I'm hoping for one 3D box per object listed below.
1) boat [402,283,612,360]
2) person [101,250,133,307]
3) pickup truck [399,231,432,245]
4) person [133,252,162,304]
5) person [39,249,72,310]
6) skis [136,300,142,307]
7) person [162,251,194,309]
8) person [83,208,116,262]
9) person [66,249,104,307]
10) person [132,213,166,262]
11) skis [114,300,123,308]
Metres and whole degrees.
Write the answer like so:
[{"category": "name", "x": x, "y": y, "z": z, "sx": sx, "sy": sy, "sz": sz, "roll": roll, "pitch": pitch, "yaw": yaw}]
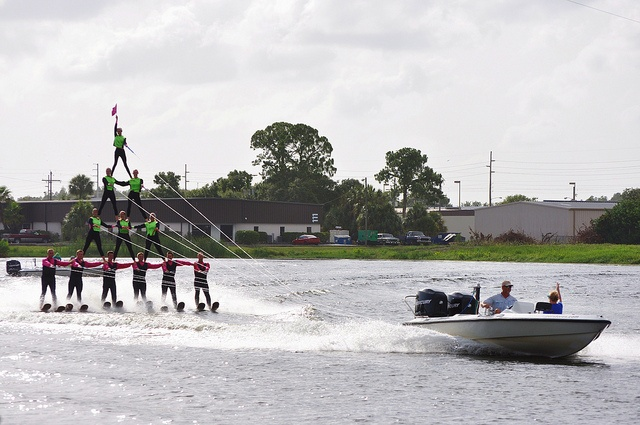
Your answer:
[{"category": "boat", "x": 7.280, "y": 4.162, "z": 40.791, "sx": 7.050, "sy": 2.816, "sz": 1.362, "roll": 3, "pitch": 9, "yaw": 20}, {"category": "person", "x": -9.485, "y": 2.860, "z": 47.963, "sx": 1.036, "sy": 2.729, "sz": 0.990, "roll": 1, "pitch": -16, "yaw": 5}, {"category": "pickup truck", "x": 9.480, "y": 2.604, "z": 103.586, "sx": 2.443, "sy": 1.121, "sz": 1.407, "roll": -4, "pitch": -2, "yaw": 43}, {"category": "person", "x": -8.248, "y": 3.122, "z": 48.963, "sx": 1.071, "sy": 1.004, "sz": 2.484, "roll": -14, "pitch": -43, "yaw": -14}, {"category": "person", "x": -12.057, "y": 2.772, "z": 47.094, "sx": 1.159, "sy": 3.138, "sz": 1.136, "roll": 5, "pitch": -3, "yaw": 5}, {"category": "skis", "x": -8.315, "y": 4.225, "z": 48.383, "sx": 0.281, "sy": 0.270, "sz": 0.066, "roll": -1, "pitch": -3, "yaw": -2}, {"category": "person", "x": -6.867, "y": 3.047, "z": 48.734, "sx": 1.236, "sy": 2.890, "sz": 1.198, "roll": 0, "pitch": -2, "yaw": 16}, {"category": "person", "x": -10.516, "y": 0.859, "z": 48.008, "sx": 1.139, "sy": 2.875, "sz": 1.194, "roll": 0, "pitch": -3, "yaw": 6}, {"category": "person", "x": -10.993, "y": 2.802, "z": 47.487, "sx": 1.167, "sy": 2.963, "sz": 1.175, "roll": 2, "pitch": -2, "yaw": 30}, {"category": "person", "x": -7.872, "y": 1.232, "z": 48.780, "sx": 1.513, "sy": 2.328, "sz": 1.030, "roll": -1, "pitch": 1, "yaw": -20}, {"category": "skis", "x": -9.194, "y": 4.205, "z": 47.912, "sx": 0.289, "sy": 0.353, "sz": 0.082, "roll": 8, "pitch": 3, "yaw": 0}]
